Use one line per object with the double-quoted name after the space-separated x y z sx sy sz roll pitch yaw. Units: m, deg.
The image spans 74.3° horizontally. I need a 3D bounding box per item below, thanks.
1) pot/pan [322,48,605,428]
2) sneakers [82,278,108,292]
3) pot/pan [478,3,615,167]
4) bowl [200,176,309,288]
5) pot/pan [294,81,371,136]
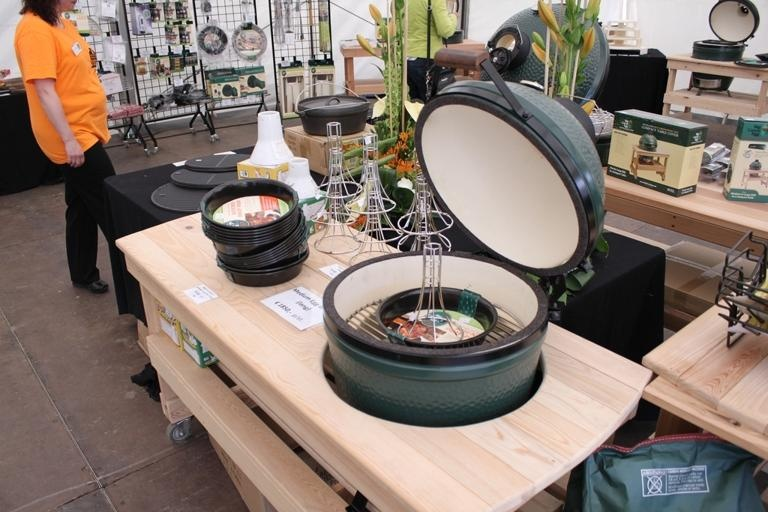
0.199 -0.015 1.450 0.788 1.042 0.604 -22 34 -33 "pot/pan"
-2.142 0.223 3.722 0.213 0.082 0.081 3 32 7 "sneakers"
0.785 -0.722 2.416 0.727 0.718 0.171 25 22 40 "pot/pan"
-0.403 -0.078 1.846 0.396 0.283 0.360 -1 40 -3 "bowl"
-0.264 -0.813 2.625 0.320 0.160 0.383 -1 23 1 "pot/pan"
